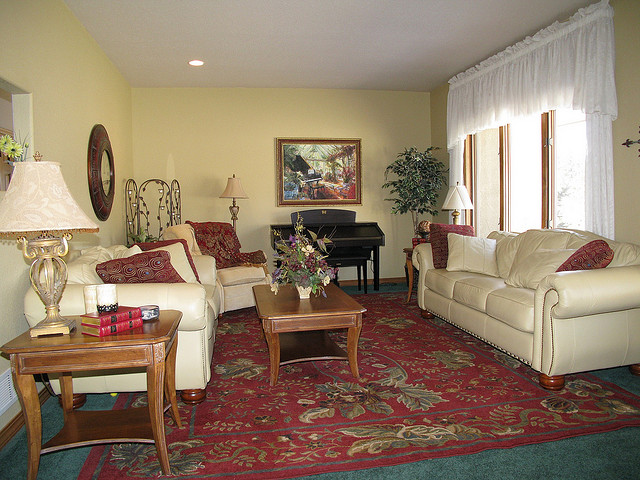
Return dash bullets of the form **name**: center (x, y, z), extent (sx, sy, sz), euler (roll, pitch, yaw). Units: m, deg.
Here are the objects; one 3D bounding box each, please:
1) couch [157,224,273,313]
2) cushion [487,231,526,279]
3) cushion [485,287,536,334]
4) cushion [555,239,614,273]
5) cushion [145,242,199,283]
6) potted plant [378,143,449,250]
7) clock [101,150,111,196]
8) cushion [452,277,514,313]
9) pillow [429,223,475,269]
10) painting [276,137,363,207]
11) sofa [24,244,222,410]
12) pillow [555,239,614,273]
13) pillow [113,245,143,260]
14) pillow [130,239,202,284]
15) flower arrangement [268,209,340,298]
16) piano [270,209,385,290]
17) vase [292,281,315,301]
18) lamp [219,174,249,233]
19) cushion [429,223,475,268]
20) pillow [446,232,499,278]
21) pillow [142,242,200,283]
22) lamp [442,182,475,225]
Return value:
- **couch**: center (-1.252, 0.318, 5.729), extent (1.155, 1.080, 1.338), euler (-1, 2, -27)
- **cushion**: center (2.071, 0.161, 4.860), extent (0.149, 0.553, 0.601), euler (29, 36, 36)
- **cushion**: center (1.581, 0.575, 3.684), extent (0.345, 0.169, 0.359), euler (-2, 2, -29)
- **cushion**: center (2.172, 0.139, 3.658), extent (0.378, 0.201, 0.072), euler (-30, -1, 30)
- **cushion**: center (-1.297, 0.219, 3.991), extent (0.115, 0.357, 0.397), euler (-23, -8, 38)
- **potted plant**: center (1.526, -0.721, 7.124), extent (0.944, 1.618, 0.852), euler (-5, 12, -17)
- **clock**: center (-2.538, -0.795, 5.302), extent (0.055, 0.530, 0.381), euler (-5, 12, -17)
- **cushion**: center (1.572, 0.514, 4.279), extent (0.358, 0.166, 0.361), euler (1, -1, -5)
- **pillow**: center (1.470, 0.084, 5.028), extent (0.559, 0.495, 0.187), euler (0, -4, 7)
- **painting**: center (-0.077, -1.104, 7.104), extent (1.230, 0.890, 0.050), euler (0, 5, -9)
- **sofa**: center (-1.483, 0.791, 3.920), extent (1.136, 0.872, 1.798), euler (-1, -4, -13)
- **pillow**: center (2.180, 0.135, 3.676), extent (0.383, 0.199, 0.075), euler (-31, -2, 30)
- **pillow**: center (-1.642, 0.106, 3.793), extent (0.245, 0.128, 0.166), euler (4, 1, 38)
- **pillow**: center (-1.406, 0.192, 3.961), extent (0.648, 0.180, 0.630), euler (8, 25, -24)
- **flower arrangement**: center (-0.123, 0.226, 3.887), extent (0.437, 0.490, 0.370), euler (3, 8, 2)
- **piano**: center (0.085, 0.137, 6.734), extent (1.641, 1.159, 0.681), euler (-2, 6, -14)
- **vase**: center (-0.139, 0.436, 3.861), extent (0.196, 0.157, 0.166), euler (0, -2, -4)
- **lamp**: center (-1.266, -0.527, 6.611), extent (0.373, 0.809, 0.517), euler (-3, 11, -9)
- **cushion**: center (1.469, 0.081, 5.029), extent (0.548, 0.480, 0.182), euler (0, -5, 6)
- **pillow**: center (1.739, 0.154, 4.894), extent (0.580, 0.475, 0.225), euler (0, -7, 42)
- **pillow**: center (-1.283, 0.243, 3.976), extent (0.111, 0.345, 0.385), euler (-26, -10, 39)
- **lamp**: center (1.798, -0.446, 5.806), extent (0.326, 0.528, 0.444), euler (4, 12, 26)
